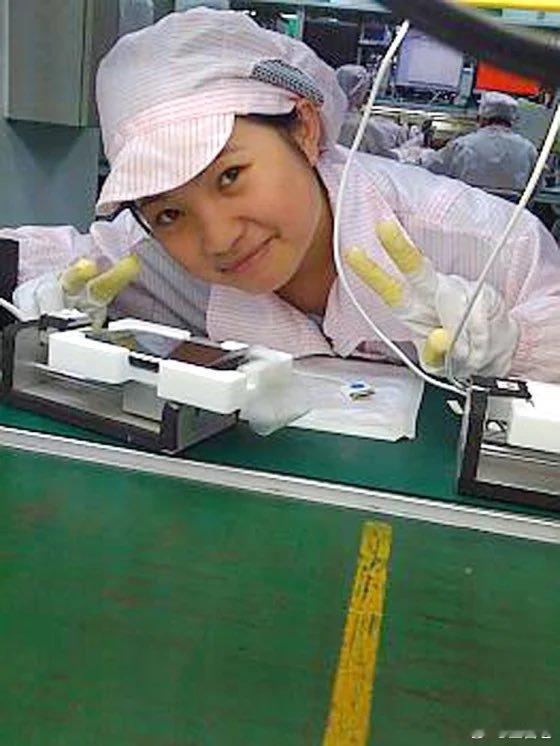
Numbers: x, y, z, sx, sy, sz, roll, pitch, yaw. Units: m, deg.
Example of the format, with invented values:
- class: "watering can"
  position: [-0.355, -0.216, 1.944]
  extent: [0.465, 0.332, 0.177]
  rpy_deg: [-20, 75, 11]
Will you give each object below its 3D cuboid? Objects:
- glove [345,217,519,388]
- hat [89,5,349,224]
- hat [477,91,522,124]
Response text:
- class: "glove"
  position: [0.178, -0.085, 0.751]
  extent: [0.303, 0.120, 0.123]
  rpy_deg: [27, 6, -44]
- class: "hat"
  position: [-0.056, -0.295, 0.734]
  extent: [0.305, 0.236, 0.214]
  rpy_deg: [6, 14, -16]
- class: "hat"
  position: [1.095, -1.348, 3.227]
  extent: [0.148, 0.088, 0.171]
  rpy_deg: [7, 32, -6]
